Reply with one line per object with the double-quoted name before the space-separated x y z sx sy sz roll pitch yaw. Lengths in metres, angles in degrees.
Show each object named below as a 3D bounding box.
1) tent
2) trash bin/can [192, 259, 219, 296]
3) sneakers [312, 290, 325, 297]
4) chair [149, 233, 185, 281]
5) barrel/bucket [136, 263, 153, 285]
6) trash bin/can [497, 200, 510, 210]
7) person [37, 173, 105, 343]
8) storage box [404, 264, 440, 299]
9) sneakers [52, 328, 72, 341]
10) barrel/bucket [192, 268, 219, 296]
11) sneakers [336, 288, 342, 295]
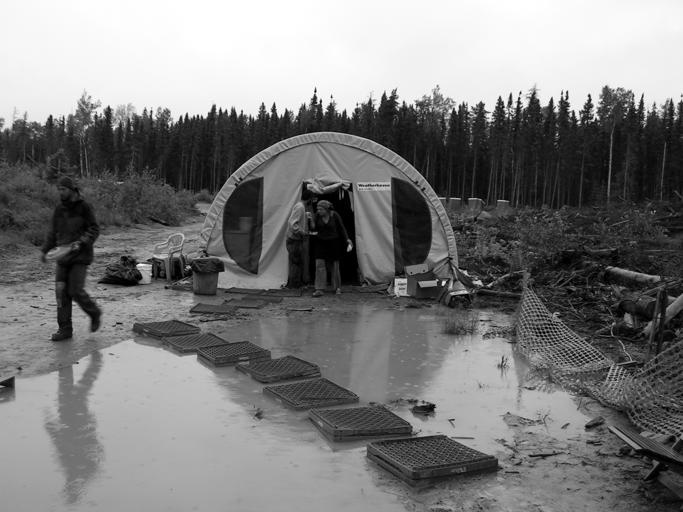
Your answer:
"tent" -0.195 -1.217 13.473 6.344 3.807 2.614 1 7 13
"trash bin/can" -2.902 0.450 11.400 0.762 0.884 0.689 0 2 -13
"sneakers" -0.515 0.835 11.362 0.099 0.117 0.278 -2 -10 14
"chair" -4.270 0.003 12.846 0.744 0.990 0.744 7 14 27
"barrel/bucket" -4.498 0.422 12.064 0.438 0.447 0.390 0 3 -1
"trash bin/can" 10.863 -3.415 34.905 0.716 0.890 1.323 4 4 28
"person" -3.860 0.016 7.417 0.713 2.245 0.741 -3 9 -30
"storage box" 1.846 0.585 11.693 0.709 0.690 0.719 -4 -4 -17
"sneakers" -3.891 1.112 7.218 0.305 0.145 0.112 7 1 -39
"barrel/bucket" -2.910 0.566 11.086 0.551 0.428 0.467 1 1 -19
"sneakers" -0.055 0.814 11.805 0.105 0.153 0.159 2 -8 -13
